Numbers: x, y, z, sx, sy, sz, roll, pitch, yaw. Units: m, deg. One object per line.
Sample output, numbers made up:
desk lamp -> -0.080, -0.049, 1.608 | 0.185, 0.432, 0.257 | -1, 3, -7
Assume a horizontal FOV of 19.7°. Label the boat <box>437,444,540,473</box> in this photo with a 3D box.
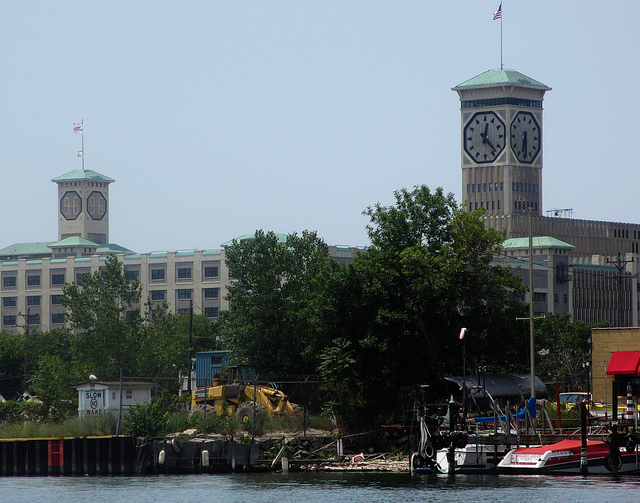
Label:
boat -> 10.233, 13.205, 122.535 | 3.877, 1.478, 2.915 | 0, -3, -6
